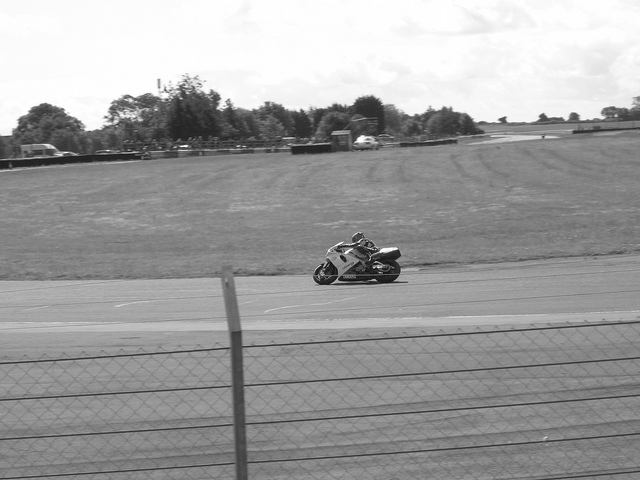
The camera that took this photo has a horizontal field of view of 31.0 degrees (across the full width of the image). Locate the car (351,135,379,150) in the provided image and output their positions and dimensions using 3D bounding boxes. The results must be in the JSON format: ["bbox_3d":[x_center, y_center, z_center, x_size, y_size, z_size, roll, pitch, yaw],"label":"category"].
[{"bbox_3d":[3.232,-7.042,83.894,1.678,0.817,2.480,-1,7,6],"label":"car"}]

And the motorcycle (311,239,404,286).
[{"bbox_3d":[0.763,0.531,27.611,2.473,0.777,0.703,-3,-1,-33],"label":"motorcycle"}]
